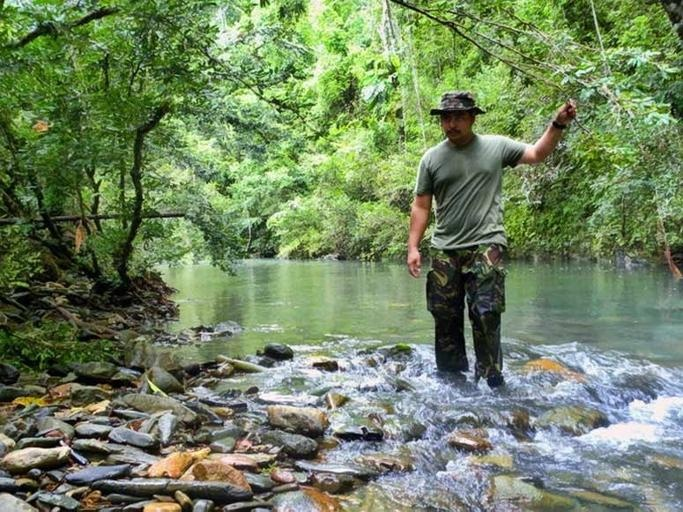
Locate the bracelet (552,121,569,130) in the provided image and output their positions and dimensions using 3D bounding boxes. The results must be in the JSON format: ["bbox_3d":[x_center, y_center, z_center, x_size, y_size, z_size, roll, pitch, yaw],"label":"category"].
[{"bbox_3d":[1.596,-0.969,4.412,0.084,0.022,0.081,7,4,14],"label":"bracelet"}]

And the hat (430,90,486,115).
[{"bbox_3d":[0.939,-1.280,4.952,0.427,0.263,0.319,-2,-2,8],"label":"hat"}]

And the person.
[{"bbox_3d":[1.113,-0.146,4.909,0.608,2.441,1.218,0,-3,-39],"label":"person"}]
